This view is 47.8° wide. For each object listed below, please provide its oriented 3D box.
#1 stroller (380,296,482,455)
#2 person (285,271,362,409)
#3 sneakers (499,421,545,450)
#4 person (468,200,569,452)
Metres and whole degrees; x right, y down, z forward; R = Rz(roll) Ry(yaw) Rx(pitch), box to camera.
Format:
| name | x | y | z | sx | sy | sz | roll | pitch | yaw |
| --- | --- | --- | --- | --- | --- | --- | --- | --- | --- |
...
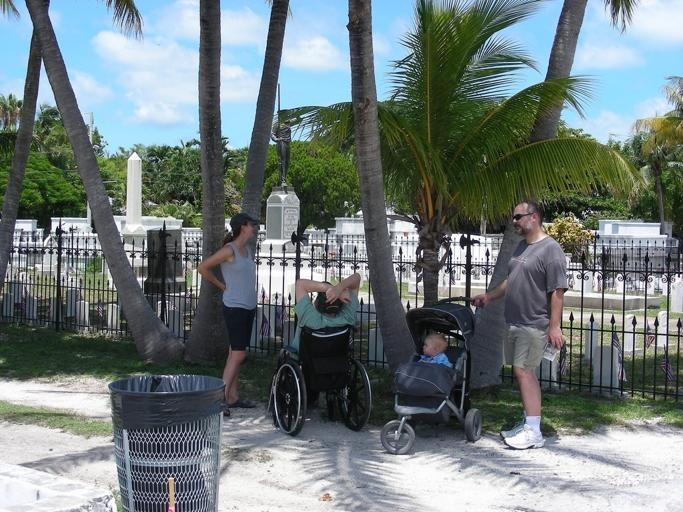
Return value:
| name | x | y | z | sx | sy | sz | roll | pitch | yaw |
| --- | --- | --- | --- | --- | --- | --- | --- | --- | --- |
| stroller | 1.042 | 1.354 | 9.031 | 1.354 | 1.806 | 0.719 | 4 | -6 | -38 |
| person | -0.212 | 1.103 | 9.519 | 1.059 | 1.152 | 3.046 | 5 | -22 | -5 |
| sneakers | 2.075 | 2.064 | 8.845 | 0.479 | 0.290 | 0.232 | 3 | -1 | -8 |
| person | 2.101 | 0.797 | 9.256 | 1.041 | 2.588 | 0.826 | 0 | 0 | -16 |
